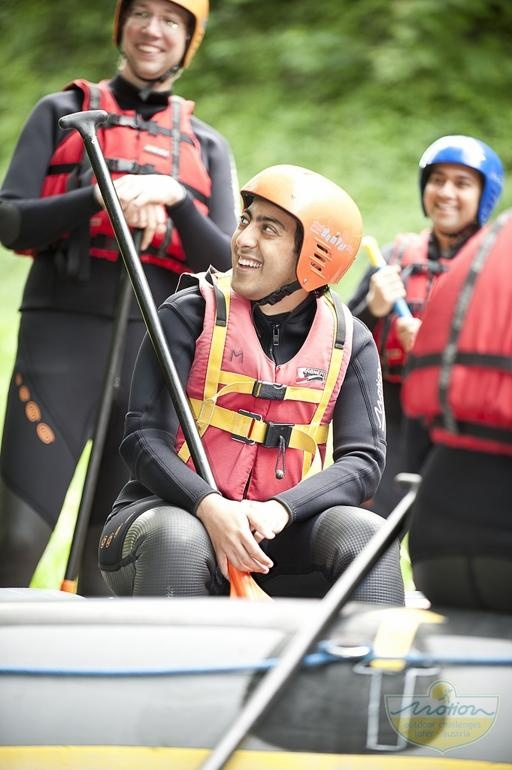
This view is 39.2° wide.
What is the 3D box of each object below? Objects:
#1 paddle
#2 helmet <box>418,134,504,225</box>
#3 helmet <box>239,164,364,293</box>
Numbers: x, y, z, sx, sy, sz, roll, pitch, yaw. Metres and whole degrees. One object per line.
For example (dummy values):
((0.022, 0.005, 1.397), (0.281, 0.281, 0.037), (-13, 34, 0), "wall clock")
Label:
((-0.215, -0.203, 1.306), (0.212, 1.187, 0.070), (-24, -19, 9), "paddle")
((0.599, -0.610, 2.155), (0.243, 0.249, 0.288), (4, 13, 18), "helmet")
((0.096, -0.278, 1.273), (0.249, 0.175, 0.177), (5, 17, -28), "helmet")
